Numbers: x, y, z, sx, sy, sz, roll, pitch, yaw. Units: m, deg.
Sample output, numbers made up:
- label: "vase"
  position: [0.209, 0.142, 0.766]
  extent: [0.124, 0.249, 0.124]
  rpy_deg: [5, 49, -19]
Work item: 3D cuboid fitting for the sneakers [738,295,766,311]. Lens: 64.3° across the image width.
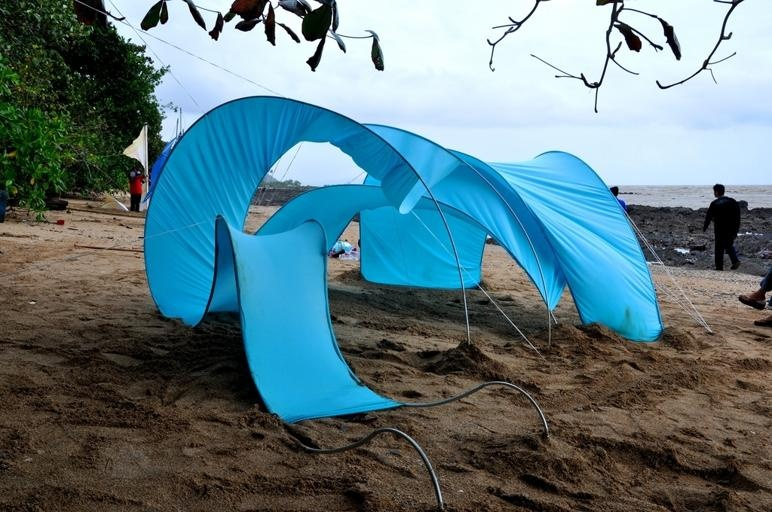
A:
- label: "sneakers"
  position: [5.638, 0.726, 9.463]
  extent: [0.452, 0.177, 0.166]
  rpy_deg: [20, 7, 17]
